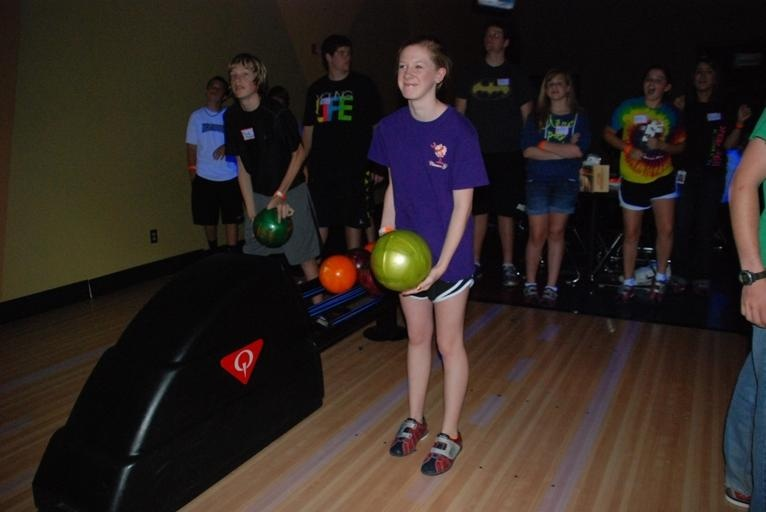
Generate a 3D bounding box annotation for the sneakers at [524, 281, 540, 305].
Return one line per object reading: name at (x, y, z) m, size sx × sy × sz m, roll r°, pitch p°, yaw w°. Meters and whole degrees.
sneakers at (1.559, 0.388, 5.137) m, size 0.093 × 0.121 × 0.294 m, roll -1°, pitch 0°, yaw 6°

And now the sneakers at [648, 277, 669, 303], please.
sneakers at (2.877, 0.315, 5.117) m, size 0.123 × 0.169 × 0.382 m, roll -4°, pitch 29°, yaw 38°

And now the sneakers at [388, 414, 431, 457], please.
sneakers at (0.174, 1.141, 3.157) m, size 0.146 × 0.183 × 0.381 m, roll -3°, pitch 6°, yaw 31°

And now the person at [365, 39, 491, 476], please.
person at (0.229, 0.051, 2.892) m, size 0.573 × 2.471 × 0.575 m, roll -15°, pitch 20°, yaw -35°

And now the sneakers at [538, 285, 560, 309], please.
sneakers at (1.720, 0.431, 5.076) m, size 0.216 × 0.277 × 0.632 m, roll 0°, pitch -1°, yaw 21°

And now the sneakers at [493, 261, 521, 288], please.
sneakers at (1.467, 0.179, 5.656) m, size 0.221 × 0.230 × 0.427 m, roll 2°, pitch 17°, yaw 15°

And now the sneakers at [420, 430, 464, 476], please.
sneakers at (0.376, 1.197, 3.030) m, size 0.159 × 0.163 × 0.393 m, roll -3°, pitch 13°, yaw 38°

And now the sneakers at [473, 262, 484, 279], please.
sneakers at (1.011, 0.162, 5.199) m, size 0.103 × 0.149 × 0.329 m, roll -3°, pitch -16°, yaw 10°

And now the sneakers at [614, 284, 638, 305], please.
sneakers at (2.530, 0.399, 5.100) m, size 0.150 × 0.211 × 0.202 m, roll -4°, pitch -11°, yaw 39°
